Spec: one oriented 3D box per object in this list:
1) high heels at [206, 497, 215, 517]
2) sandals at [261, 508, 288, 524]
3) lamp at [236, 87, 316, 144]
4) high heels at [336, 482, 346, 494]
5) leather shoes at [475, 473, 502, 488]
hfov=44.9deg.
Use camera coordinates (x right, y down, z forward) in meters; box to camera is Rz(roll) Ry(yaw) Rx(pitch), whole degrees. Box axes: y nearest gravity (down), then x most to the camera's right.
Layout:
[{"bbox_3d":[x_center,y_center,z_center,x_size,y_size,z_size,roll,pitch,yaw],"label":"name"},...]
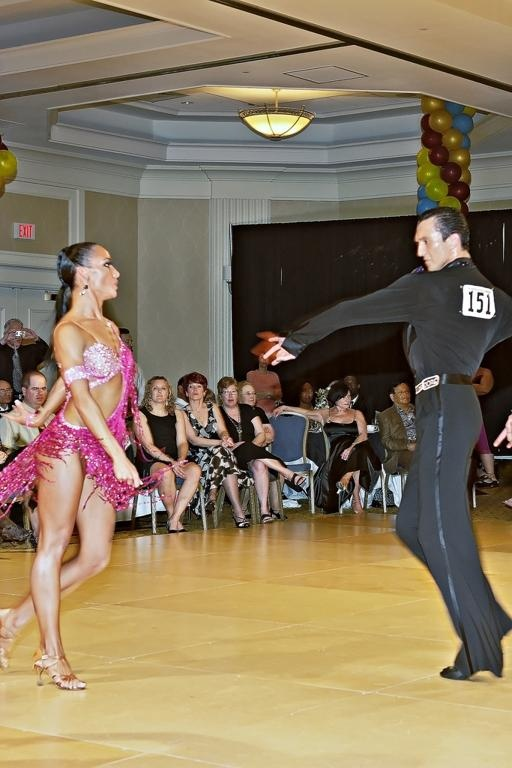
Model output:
[{"bbox_3d":[-0.519,1.385,7.128,0.115,0.316,0.124,3,33,-1],"label":"high heels"},{"bbox_3d":[0.185,1.436,6.651,0.117,0.121,0.327,-5,-11,12],"label":"sandals"},{"bbox_3d":[0.275,-3.621,8.563,0.993,0.293,0.422,3,-12,-14],"label":"lamp"},{"bbox_3d":[0.995,1.208,7.231,0.114,0.117,0.134,-1,-19,4],"label":"high heels"},{"bbox_3d":[3.334,1.390,8.859,0.168,0.170,0.480,1,-1,43],"label":"leather shoes"}]
